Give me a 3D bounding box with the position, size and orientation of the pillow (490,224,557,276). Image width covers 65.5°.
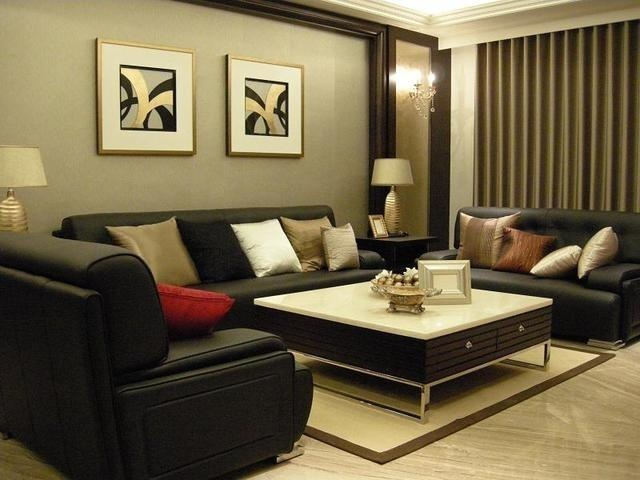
[{"bbox_3d":[1.816,0.102,4.475,0.499,0.412,0.153,15,-11,37],"label":"pillow"}]

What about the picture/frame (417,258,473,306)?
[{"bbox_3d":[0.795,0.269,3.158,0.034,0.270,0.370,6,-9,-43],"label":"picture/frame"}]

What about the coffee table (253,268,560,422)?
[{"bbox_3d":[0.790,0.393,2.997,1.147,0.304,1.232,-3,4,-44],"label":"coffee table"}]

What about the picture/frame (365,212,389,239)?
[{"bbox_3d":[0.623,-0.171,5.377,0.379,0.360,0.045,2,-22,-46],"label":"picture/frame"}]

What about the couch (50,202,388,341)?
[{"bbox_3d":[-0.685,0.240,4.012,2.609,0.891,0.972,-5,10,-31],"label":"couch"}]

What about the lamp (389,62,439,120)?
[{"bbox_3d":[1.176,-1.765,5.928,0.177,0.592,0.687,8,11,44],"label":"lamp"}]

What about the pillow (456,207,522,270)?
[{"bbox_3d":[1.485,0.004,4.800,0.692,0.543,0.224,2,14,-28],"label":"pillow"}]

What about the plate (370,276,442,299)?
[{"bbox_3d":[0.475,0.278,2.990,0.471,0.103,0.145,0,-2,29],"label":"plate"}]
